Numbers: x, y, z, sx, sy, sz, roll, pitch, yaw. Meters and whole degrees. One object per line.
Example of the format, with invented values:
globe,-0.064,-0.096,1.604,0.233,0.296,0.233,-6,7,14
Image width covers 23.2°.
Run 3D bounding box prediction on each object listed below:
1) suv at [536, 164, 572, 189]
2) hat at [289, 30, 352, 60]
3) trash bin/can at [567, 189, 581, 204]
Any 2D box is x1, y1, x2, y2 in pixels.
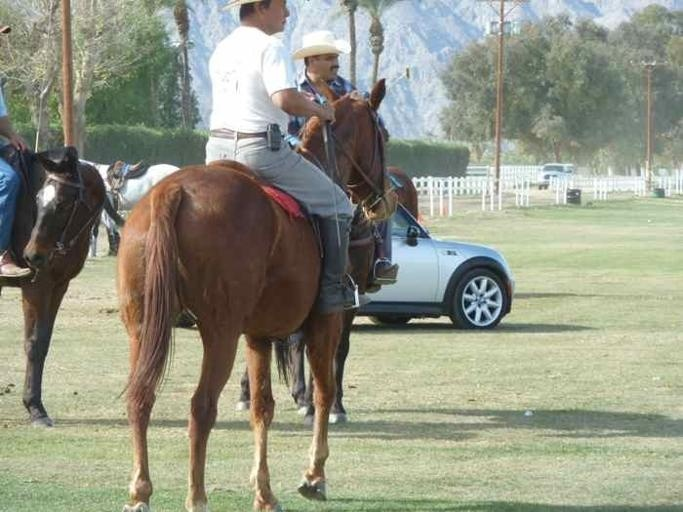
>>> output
suv,11.107,-4.281,86.120,1.537,1.490,3.012,-1,0,21
hat,-0.328,-3.427,27.129,0.658,0.279,0.632,-7,3,3
trash bin/can,9.625,-2.377,67.417,0.602,0.683,0.619,1,-3,-1
